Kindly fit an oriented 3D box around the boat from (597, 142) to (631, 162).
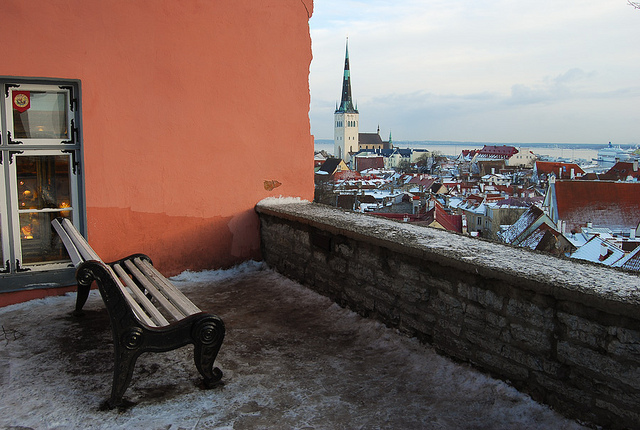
[{"bbox_3d":[76.722,-16.002,125.625,4.756,5.046,20.587,6,16,23],"label":"boat"}]
